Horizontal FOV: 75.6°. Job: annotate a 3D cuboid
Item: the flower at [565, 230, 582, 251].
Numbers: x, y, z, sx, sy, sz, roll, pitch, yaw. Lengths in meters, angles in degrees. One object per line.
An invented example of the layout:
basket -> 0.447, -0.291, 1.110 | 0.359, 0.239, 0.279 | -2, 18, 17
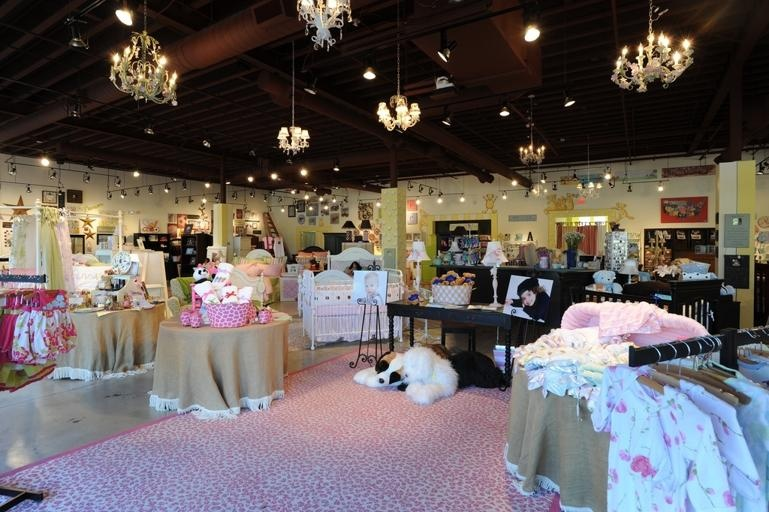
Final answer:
flower -> 3.640, -0.285, 9.427 | 0.358, 0.372, 0.337 | 1, -3, -7

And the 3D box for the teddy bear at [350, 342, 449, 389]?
teddy bear -> 0.169, 1.439, 7.014 | 0.627, 0.278, 1.033 | -4, -3, 41

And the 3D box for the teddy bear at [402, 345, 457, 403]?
teddy bear -> 0.558, 1.561, 6.479 | 0.492, 0.453, 0.749 | -7, -9, 35

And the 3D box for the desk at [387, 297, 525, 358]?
desk -> 1.164, 0.975, 7.267 | 1.741, 0.777, 0.950 | 2, 15, 32

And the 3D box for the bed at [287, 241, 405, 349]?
bed -> -0.710, 0.727, 9.588 | 1.656, 1.654, 2.079 | 0, -1, 9

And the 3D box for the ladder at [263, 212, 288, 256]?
ladder -> -4.469, -0.589, 19.425 | 0.629, 1.592, 2.357 | -9, 19, -23

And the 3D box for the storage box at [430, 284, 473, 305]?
storage box -> 0.935, 0.537, 6.951 | 0.544, 0.296, 0.234 | -1, 1, 4

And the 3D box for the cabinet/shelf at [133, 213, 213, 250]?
cabinet/shelf -> -7.568, -0.905, 17.983 | 0.758, 1.321, 2.703 | 0, 1, 33

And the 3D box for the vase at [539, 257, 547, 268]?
vase -> 2.973, 0.108, 9.194 | 0.149, 0.207, 0.148 | 0, 1, 17

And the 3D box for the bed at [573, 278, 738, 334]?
bed -> 4.099, 0.776, 7.186 | 1.266, 0.766, 0.990 | -2, -4, -10

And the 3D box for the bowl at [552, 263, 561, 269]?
bowl -> 3.247, 0.191, 9.351 | 0.131, 0.080, 0.130 | 0, 5, 0

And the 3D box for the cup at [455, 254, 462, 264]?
cup -> 1.505, 0.059, 10.177 | 0.171, 0.231, 0.167 | -1, 1, 0

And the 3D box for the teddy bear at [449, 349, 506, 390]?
teddy bear -> 1.147, 1.637, 6.995 | 1.034, 0.565, 0.318 | -14, 1, 43

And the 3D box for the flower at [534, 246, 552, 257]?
flower -> 3.083, -0.066, 9.436 | 0.262, 0.281, 0.280 | 0, -4, -8

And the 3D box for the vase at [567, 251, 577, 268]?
vase -> 3.531, 0.057, 9.279 | 0.251, 0.332, 0.207 | -1, 1, -6

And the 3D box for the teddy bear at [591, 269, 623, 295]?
teddy bear -> 3.449, 0.428, 7.677 | 0.449, 0.401, 0.508 | -3, -13, 21

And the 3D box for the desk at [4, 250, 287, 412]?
desk -> -2.547, 0.949, 6.362 | 2.308, 0.898, 1.786 | 2, 3, 10
